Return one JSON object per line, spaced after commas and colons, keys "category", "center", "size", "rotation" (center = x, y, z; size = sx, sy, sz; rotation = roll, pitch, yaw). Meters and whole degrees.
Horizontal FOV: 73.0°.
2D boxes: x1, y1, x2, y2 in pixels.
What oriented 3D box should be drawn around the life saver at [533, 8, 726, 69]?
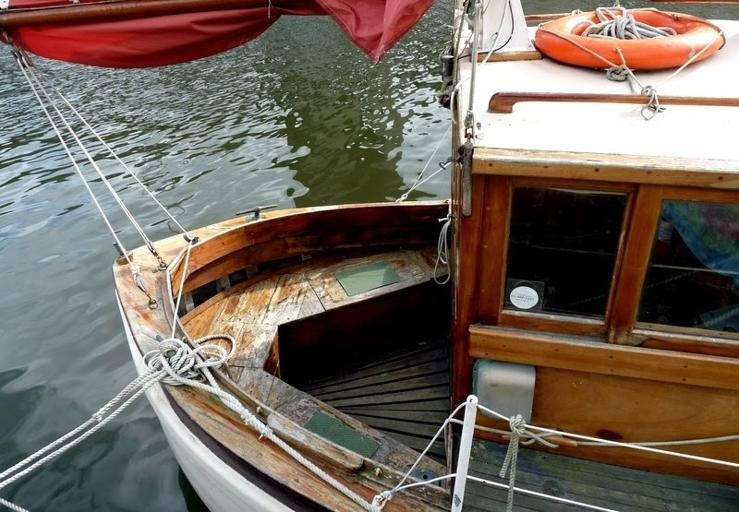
{"category": "life saver", "center": [2.349, -1.943, 4.508], "size": [1.419, 0.284, 1.126], "rotation": [-3, 25, 1]}
